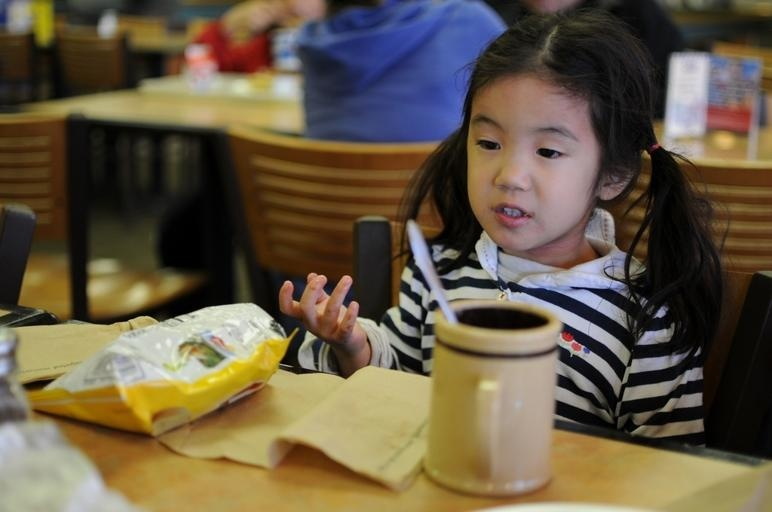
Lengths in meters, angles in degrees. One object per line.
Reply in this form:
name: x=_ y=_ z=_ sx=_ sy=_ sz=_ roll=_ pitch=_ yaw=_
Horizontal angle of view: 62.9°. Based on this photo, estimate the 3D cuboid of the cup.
cup: x=0.106 y=0.136 z=0.617 sx=0.120 sy=0.167 sz=0.110 roll=0 pitch=16 yaw=0

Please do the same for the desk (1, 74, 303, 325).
desk: x=-0.687 y=-0.305 z=2.382 sx=0.897 sy=0.873 sz=0.924 roll=7 pitch=12 yaw=28
